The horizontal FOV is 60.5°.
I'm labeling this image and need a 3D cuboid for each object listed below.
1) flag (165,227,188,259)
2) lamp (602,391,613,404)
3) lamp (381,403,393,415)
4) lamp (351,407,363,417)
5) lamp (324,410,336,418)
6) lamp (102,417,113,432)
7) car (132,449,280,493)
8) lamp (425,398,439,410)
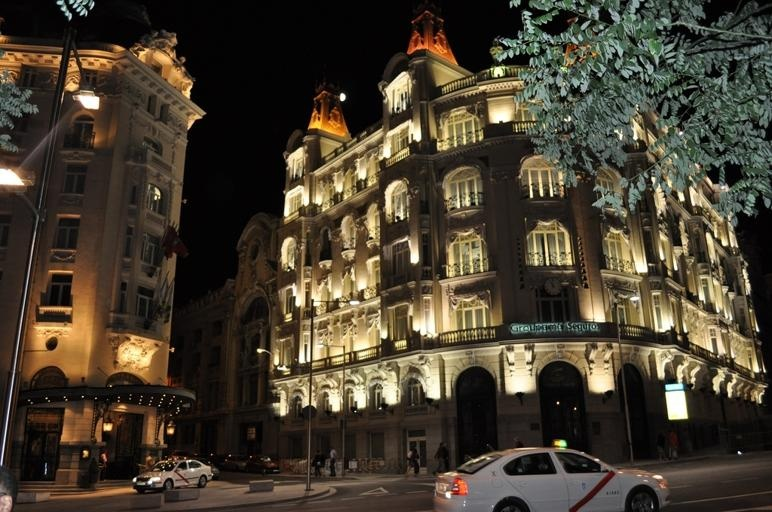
[{"bbox_3d":[-16.062,-0.887,50.213,2.496,2.436,0.799,-1,10,-45],"label":"flag"},{"bbox_3d":[16.248,10.327,48.565,0.556,0.438,1.115,6,-30,3],"label":"lamp"},{"bbox_3d":[0.130,12.693,54.902,1.266,0.875,0.653,18,-27,-35],"label":"lamp"},{"bbox_3d":[-2.516,13.680,57.876,1.246,0.704,0.609,3,-16,0],"label":"lamp"},{"bbox_3d":[-5.007,14.313,60.009,0.814,0.354,0.588,17,-25,-28],"label":"lamp"},{"bbox_3d":[-20.573,12.471,48.975,0.487,0.929,1.751,4,-24,-15],"label":"lamp"},{"bbox_3d":[-13.290,13.833,41.948,1.660,2.268,4.949,-15,-26,26],"label":"car"},{"bbox_3d":[3.624,11.462,51.264,0.905,0.888,0.530,-1,-24,-4],"label":"lamp"}]
